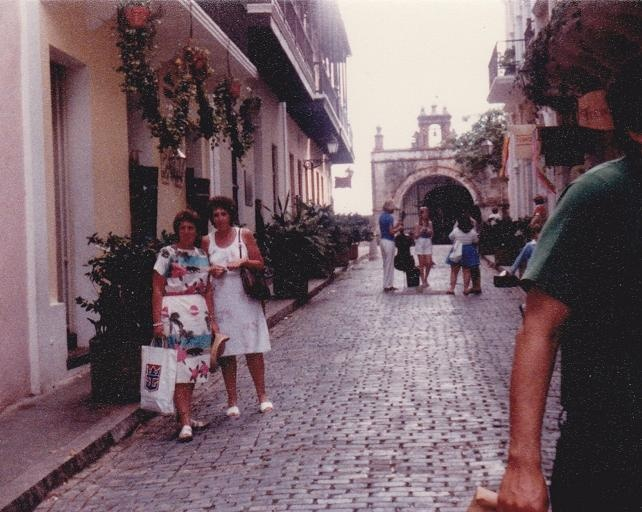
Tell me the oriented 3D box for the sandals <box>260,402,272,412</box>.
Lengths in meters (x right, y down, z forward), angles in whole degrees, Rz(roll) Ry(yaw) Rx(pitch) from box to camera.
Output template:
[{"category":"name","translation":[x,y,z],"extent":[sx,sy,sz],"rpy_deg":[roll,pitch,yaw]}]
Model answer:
[{"category":"sandals","translation":[-0.482,1.323,5.785],"extent":[0.056,0.046,0.109],"rpy_deg":[-1,6,-1]}]

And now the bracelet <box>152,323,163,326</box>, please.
[{"category":"bracelet","translation":[-1.328,0.560,5.369],"extent":[0.062,0.040,0.028],"rpy_deg":[-3,4,-7]}]

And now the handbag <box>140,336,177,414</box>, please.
[{"category":"handbag","translation":[-1.304,0.984,5.311],"extent":[0.298,0.523,0.226],"rpy_deg":[-3,4,-12]}]

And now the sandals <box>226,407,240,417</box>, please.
[{"category":"sandals","translation":[-0.775,1.361,5.800],"extent":[0.116,0.070,0.198],"rpy_deg":[-3,3,-7]}]

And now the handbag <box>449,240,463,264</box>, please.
[{"category":"handbag","translation":[2.764,-0.070,13.541],"extent":[0.183,0.465,0.421],"rpy_deg":[-4,4,-30]}]

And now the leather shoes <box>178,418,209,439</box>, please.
[{"category":"leather shoes","translation":[-1.039,1.410,5.367],"extent":[0.091,0.141,0.306],"rpy_deg":[-3,9,12]}]

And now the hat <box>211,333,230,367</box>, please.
[{"category":"hat","translation":[-0.862,0.776,5.507],"extent":[0.219,0.239,0.182],"rpy_deg":[0,-3,-9]}]
